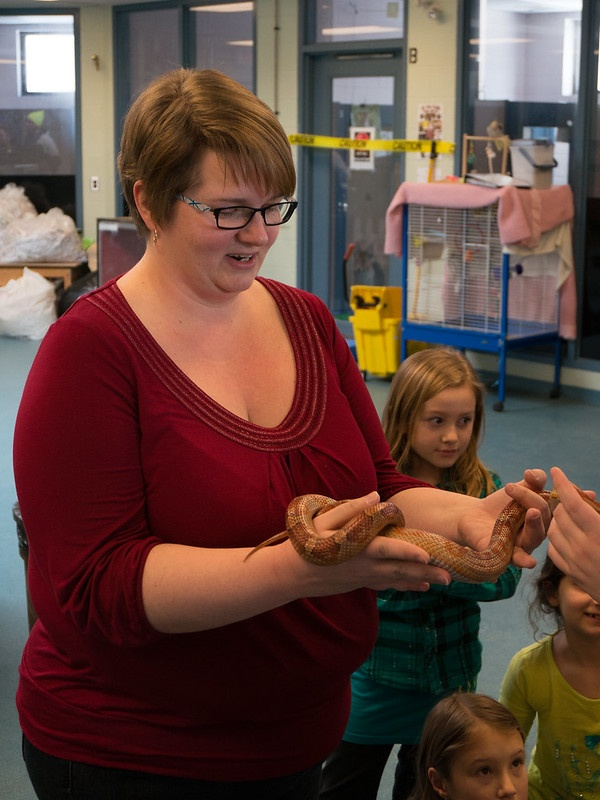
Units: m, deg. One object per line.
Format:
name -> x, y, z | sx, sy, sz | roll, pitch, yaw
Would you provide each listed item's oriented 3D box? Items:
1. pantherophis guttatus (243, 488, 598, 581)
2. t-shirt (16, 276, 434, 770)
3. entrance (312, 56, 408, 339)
pantherophis guttatus -> 0.194, 0.141, 0.853 | 0.501, 0.121, 0.163 | 2, 1, -20
t-shirt -> -0.108, 0.131, 1.044 | 0.414, 0.574, 0.630 | 8, 12, 40
entrance -> 0.775, -2.622, 8.911 | 1.287, 3.467, 0.091 | -3, 45, 2
